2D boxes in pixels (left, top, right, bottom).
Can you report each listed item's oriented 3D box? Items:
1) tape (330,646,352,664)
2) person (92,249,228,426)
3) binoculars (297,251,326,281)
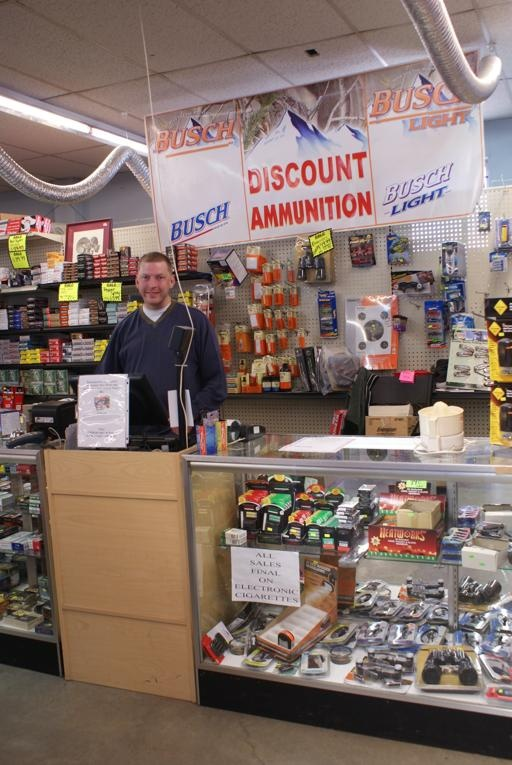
[{"bbox_3d":[0.293,0.935,1.947,0.045,0.016,0.047,-4,25,9],"label":"tape"},{"bbox_3d":[-0.493,-0.207,2.769,0.665,0.833,0.428,-2,4,3],"label":"person"},{"bbox_3d":[0.399,-0.817,4.007,0.192,0.200,0.065,-2,1,12],"label":"binoculars"}]
